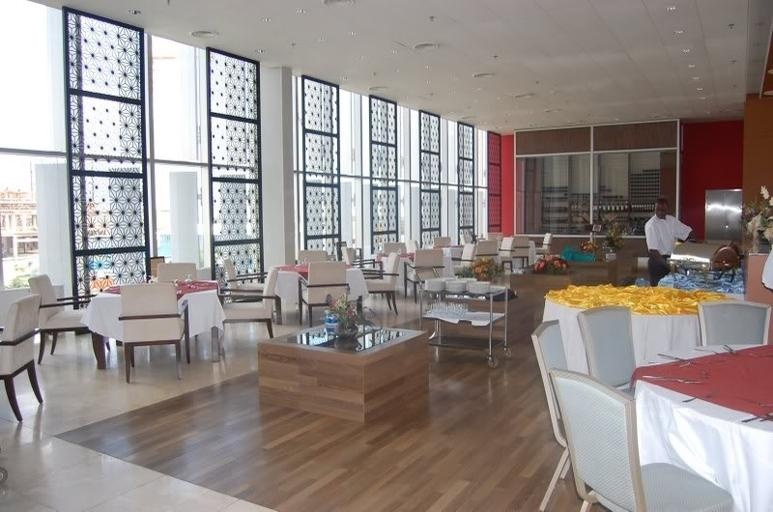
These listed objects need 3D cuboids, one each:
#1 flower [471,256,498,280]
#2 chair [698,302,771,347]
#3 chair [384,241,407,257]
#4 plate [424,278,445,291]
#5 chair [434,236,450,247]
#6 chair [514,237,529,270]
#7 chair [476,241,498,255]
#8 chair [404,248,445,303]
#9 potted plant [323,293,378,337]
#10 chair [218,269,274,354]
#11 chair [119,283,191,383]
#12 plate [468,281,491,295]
[{"bbox_3d":[1.399,0.197,7.785,0.362,0.395,0.375,-1,1,3],"label":"flower"},{"bbox_3d":[3.206,0.628,5.008,0.629,0.383,0.185,-1,10,-5],"label":"chair"},{"bbox_3d":[0.169,-0.142,12.071,0.318,0.470,0.363,0,-2,-2],"label":"chair"},{"bbox_3d":[0.658,0.399,7.348,0.172,0.094,0.174,-5,9,-25],"label":"plate"},{"bbox_3d":[1.447,-0.347,14.174,0.271,0.387,0.303,1,-3,-28],"label":"chair"},{"bbox_3d":[3.585,-0.060,14.376,0.413,0.950,1.204,2,10,15],"label":"chair"},{"bbox_3d":[2.332,-0.176,12.601,0.375,0.425,0.386,-1,6,-3],"label":"chair"},{"bbox_3d":[0.708,0.430,10.602,0.710,1.238,1.853,0,10,1],"label":"chair"},{"bbox_3d":[-0.500,0.689,6.049,0.526,0.421,0.536,-4,-3,43],"label":"potted plant"},{"bbox_3d":[-2.022,0.772,8.491,0.962,1.257,0.894,1,0,-7],"label":"chair"},{"bbox_3d":[-2.915,0.932,6.816,0.786,1.190,0.544,-4,11,-20],"label":"chair"},{"bbox_3d":[1.243,0.409,7.185,0.191,0.084,0.188,-3,6,-37],"label":"plate"}]
